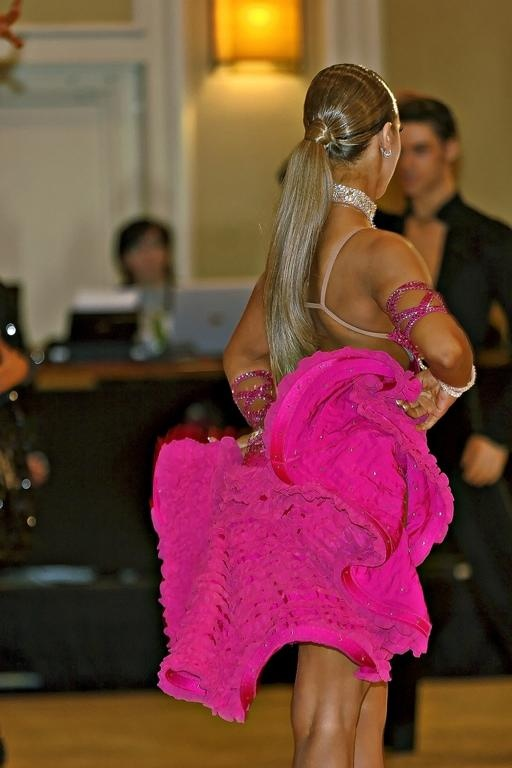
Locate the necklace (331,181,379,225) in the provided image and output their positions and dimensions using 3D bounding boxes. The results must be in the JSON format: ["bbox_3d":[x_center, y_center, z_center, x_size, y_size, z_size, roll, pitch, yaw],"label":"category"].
[{"bbox_3d":[0.144,-0.264,1.255,0.058,0.026,0.066,13,-2,-7],"label":"necklace"}]

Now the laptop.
[{"bbox_3d":[-0.111,-0.217,2.896,0.418,0.187,0.367,-4,4,-1],"label":"laptop"}]

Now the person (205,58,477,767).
[{"bbox_3d":[0.136,0.053,1.248,0.274,1.079,0.364,2,2,-19],"label":"person"}]

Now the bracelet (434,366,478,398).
[{"bbox_3d":[0.291,0.013,1.228,0.062,0.063,0.028,-6,23,3],"label":"bracelet"}]
